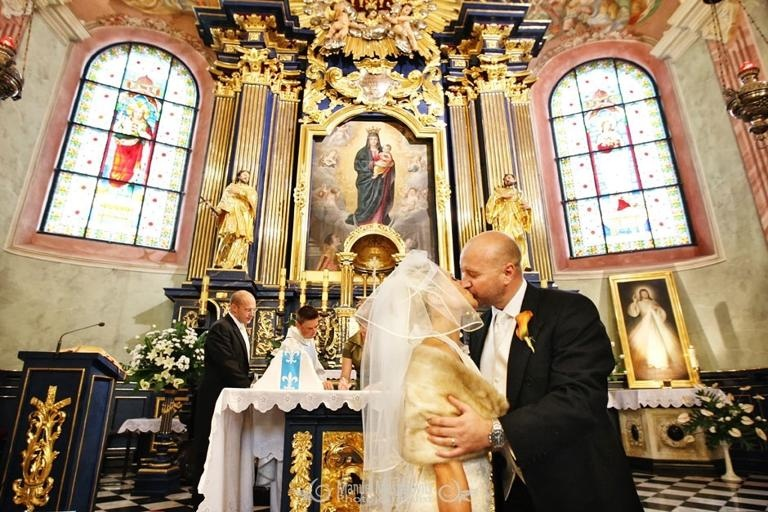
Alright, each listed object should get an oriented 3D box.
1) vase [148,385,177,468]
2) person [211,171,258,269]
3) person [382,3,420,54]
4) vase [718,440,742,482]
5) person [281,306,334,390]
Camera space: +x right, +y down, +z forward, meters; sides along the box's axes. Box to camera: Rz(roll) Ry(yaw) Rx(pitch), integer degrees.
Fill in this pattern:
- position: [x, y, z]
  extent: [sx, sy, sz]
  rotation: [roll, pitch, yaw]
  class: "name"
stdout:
- position: [-2.931, 2.293, 6.664]
  extent: [0.334, 0.996, 0.578]
  rotation: [4, -20, -19]
  class: "vase"
- position: [-2.535, -0.587, 8.539]
  extent: [0.588, 1.652, 0.574]
  rotation: [5, -21, -21]
  class: "person"
- position: [0.398, -4.637, 10.366]
  extent: [0.612, 0.976, 0.335]
  rotation: [-14, -9, 4]
  class: "person"
- position: [4.986, 2.958, 7.250]
  extent: [0.238, 0.530, 1.008]
  rotation: [-15, -22, 30]
  class: "vase"
- position: [-0.897, 1.079, 6.068]
  extent: [0.515, 1.192, 1.798]
  rotation: [-1, -19, -6]
  class: "person"
